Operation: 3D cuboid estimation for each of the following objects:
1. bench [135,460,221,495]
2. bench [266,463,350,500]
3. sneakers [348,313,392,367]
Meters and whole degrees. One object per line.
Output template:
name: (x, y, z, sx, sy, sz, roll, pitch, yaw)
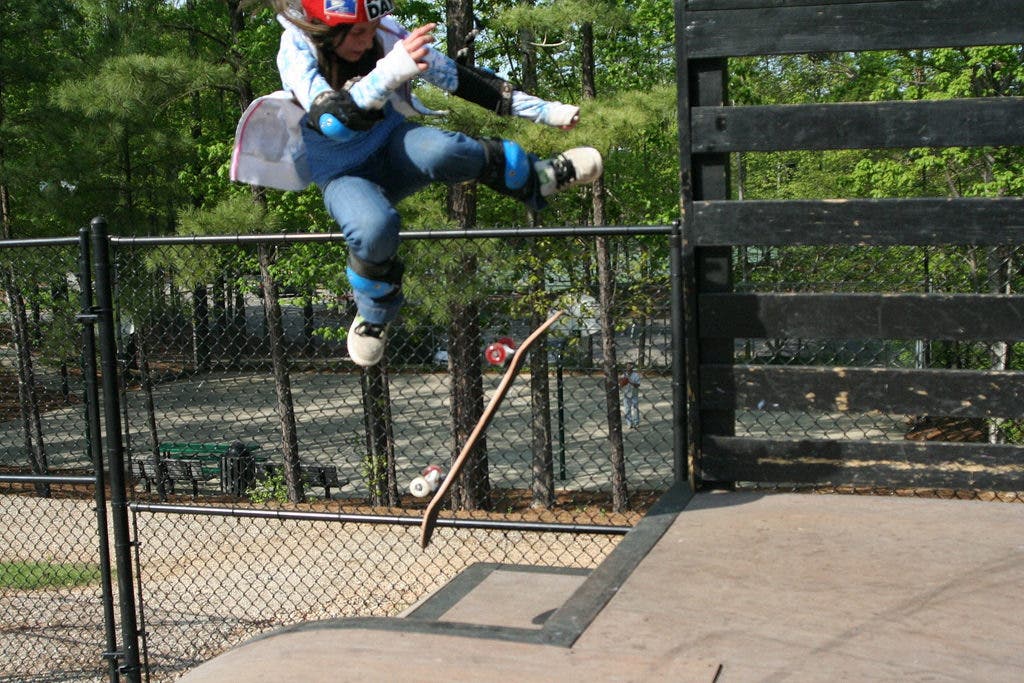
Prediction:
bench: (-5.780, 2.366, 22.140, 1.674, 0.578, 0.513, 3, 21, 27)
bench: (-3.747, 2.524, 23.247, 1.499, 0.729, 2.352, -3, 2, -7)
sneakers: (-1.225, 0.014, 10.746, 0.237, 0.513, 0.226, 34, -9, -13)
